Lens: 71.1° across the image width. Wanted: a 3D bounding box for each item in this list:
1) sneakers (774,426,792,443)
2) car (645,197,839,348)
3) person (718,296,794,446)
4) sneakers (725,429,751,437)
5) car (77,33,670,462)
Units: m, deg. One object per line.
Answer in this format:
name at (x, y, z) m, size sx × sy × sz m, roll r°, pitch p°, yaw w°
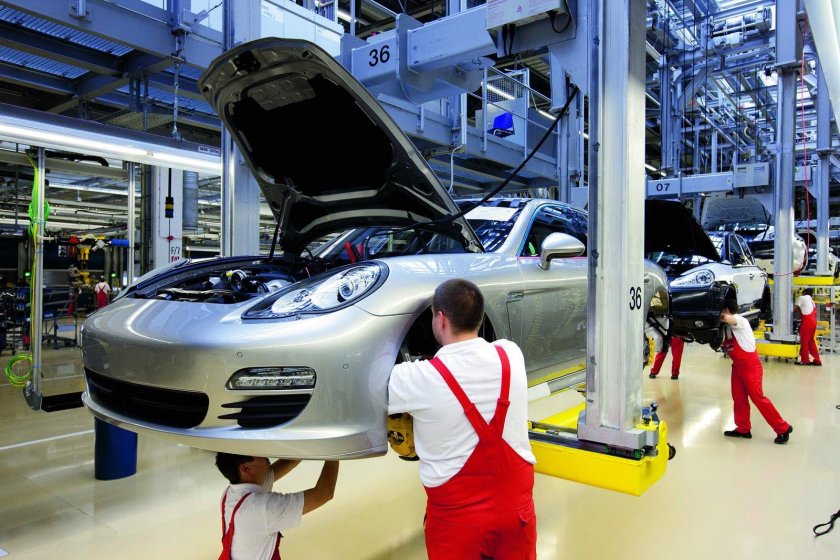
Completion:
sneakers at (3.874, 1.604, 6.225) m, size 0.104 × 0.136 × 0.309 m, roll -33°, pitch -11°, yaw 36°
car at (4.039, -0.067, 8.263) m, size 3.665 × 1.947 × 1.407 m, roll 4°, pitch -7°, yaw -42°
person at (3.655, 0.940, 6.376) m, size 0.743 × 1.420 × 0.575 m, roll 5°, pitch 9°, yaw 33°
sneakers at (3.446, 1.622, 6.334) m, size 0.186 × 0.081 × 0.069 m, roll 3°, pitch -2°, yaw 26°
car at (-0.612, -0.216, 4.253) m, size 2.434 × 1.925 × 4.135 m, roll -6°, pitch -7°, yaw 42°
